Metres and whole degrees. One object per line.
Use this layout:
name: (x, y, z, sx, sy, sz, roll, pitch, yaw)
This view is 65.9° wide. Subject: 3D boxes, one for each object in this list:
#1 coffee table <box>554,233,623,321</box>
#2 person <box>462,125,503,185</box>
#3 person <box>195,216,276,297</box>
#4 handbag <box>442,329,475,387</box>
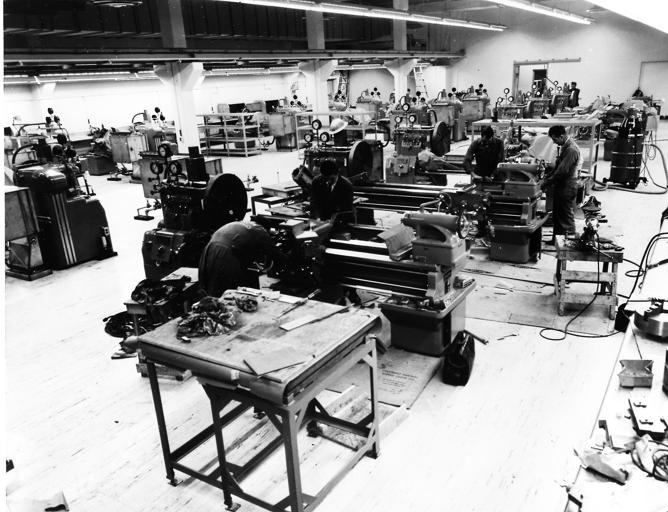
coffee table: (2.683, 0.105, 5.534, 0.619, 0.755, 1.093, 6, 20, 23)
person: (2.069, -1.435, 7.148, 0.537, 0.664, 0.859, 4, 19, 18)
person: (-0.794, -0.013, 4.600, 0.525, 0.730, 0.765, 14, 25, 21)
handbag: (1.067, 0.901, 4.482, 0.138, 0.169, 0.404, 8, 25, 19)
